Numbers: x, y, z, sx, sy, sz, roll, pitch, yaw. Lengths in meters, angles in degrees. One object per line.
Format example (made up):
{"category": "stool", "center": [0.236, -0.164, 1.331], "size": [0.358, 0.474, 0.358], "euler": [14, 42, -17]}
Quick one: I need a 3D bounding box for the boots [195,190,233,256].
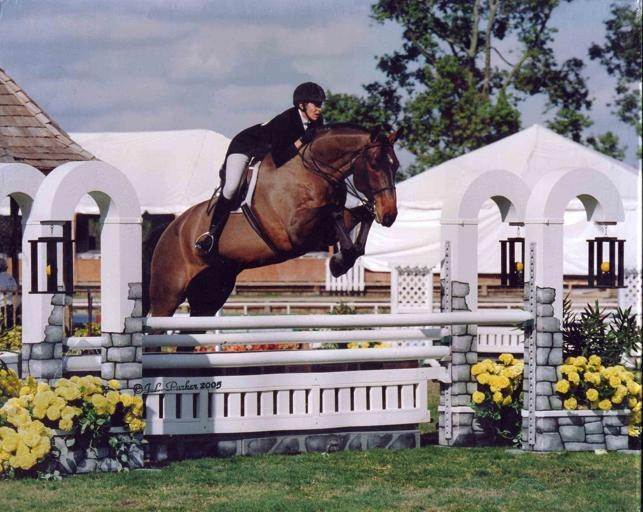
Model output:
{"category": "boots", "center": [-1.428, -0.427, 23.534], "size": [0.336, 1.065, 0.320], "euler": [21, 5, 11]}

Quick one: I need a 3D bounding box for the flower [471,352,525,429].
{"category": "flower", "center": [2.484, 1.797, 23.358], "size": [0.865, 1.020, 0.871], "euler": [-4, 2, -12]}

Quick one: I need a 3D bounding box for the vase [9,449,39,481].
{"category": "vase", "center": [-3.740, 2.605, 21.637], "size": [0.416, 0.382, 0.215], "euler": [-1, 9, -9]}
